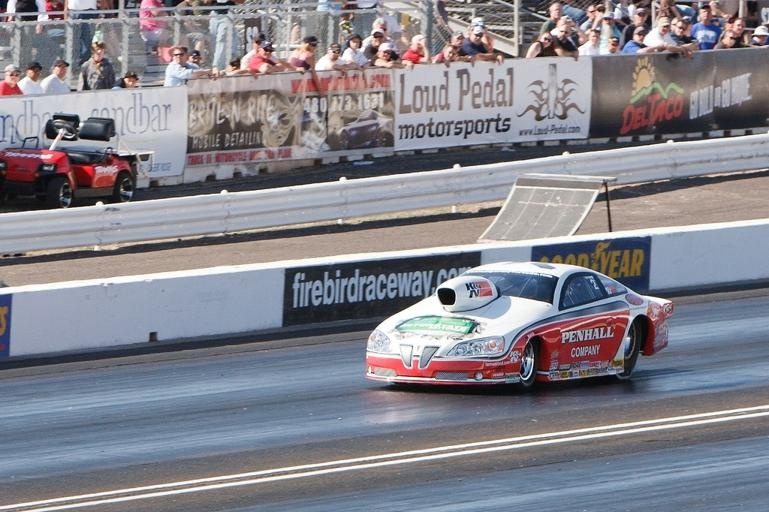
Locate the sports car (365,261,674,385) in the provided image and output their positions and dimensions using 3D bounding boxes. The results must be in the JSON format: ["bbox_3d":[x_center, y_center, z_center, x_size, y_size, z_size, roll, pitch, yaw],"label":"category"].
[{"bbox_3d":[2.074,1.021,33.791,2.895,1.421,5.204,5,8,43],"label":"sports car"}]

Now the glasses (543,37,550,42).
[{"bbox_3d":[3.374,-4.584,44.414,0.108,0.110,0.106,1,20,9],"label":"glasses"}]
